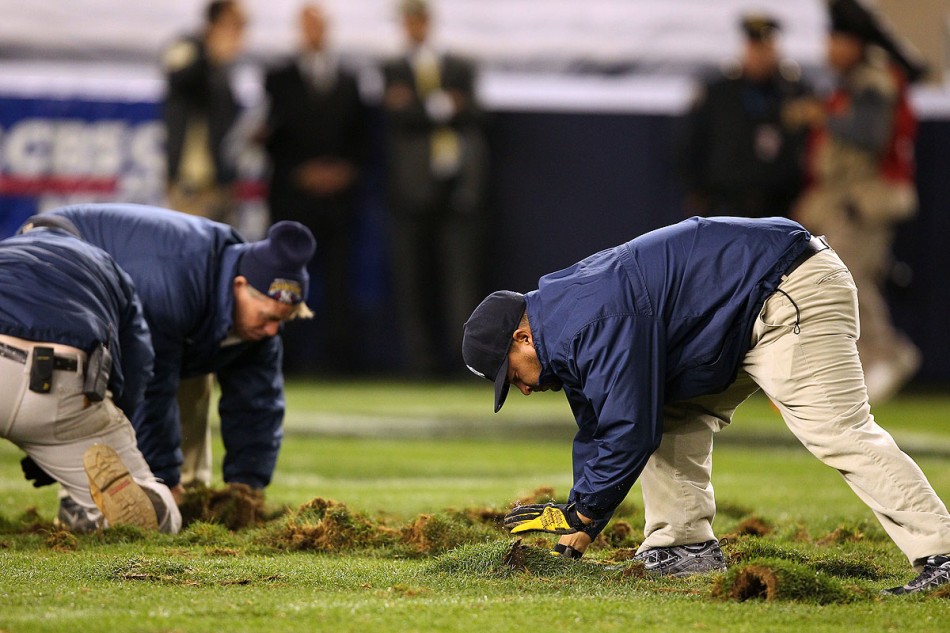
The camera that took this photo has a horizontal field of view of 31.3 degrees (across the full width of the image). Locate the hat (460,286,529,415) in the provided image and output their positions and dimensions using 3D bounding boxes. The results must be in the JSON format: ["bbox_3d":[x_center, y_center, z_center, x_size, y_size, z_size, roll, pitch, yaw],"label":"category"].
[{"bbox_3d":[0.122,0.201,10.827,0.398,0.692,0.479,14,3,-5],"label":"hat"}]

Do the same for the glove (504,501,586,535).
[{"bbox_3d":[0.466,1.270,10.907,0.561,0.241,0.204,5,-1,2],"label":"glove"}]

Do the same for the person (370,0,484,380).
[{"bbox_3d":[-0.417,-1.205,17.182,1.015,3.919,1.332,1,9,-1],"label":"person"}]

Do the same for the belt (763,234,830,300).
[{"bbox_3d":[2.033,-0.345,10.730,0.199,0.405,0.315,42,9,-5],"label":"belt"}]

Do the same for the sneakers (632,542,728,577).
[{"bbox_3d":[1.351,1.606,11.064,0.658,0.298,0.224,2,-10,1],"label":"sneakers"}]

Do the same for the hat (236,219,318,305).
[{"bbox_3d":[-1.369,-0.440,11.797,0.469,0.560,0.687,1,12,-41],"label":"hat"}]
